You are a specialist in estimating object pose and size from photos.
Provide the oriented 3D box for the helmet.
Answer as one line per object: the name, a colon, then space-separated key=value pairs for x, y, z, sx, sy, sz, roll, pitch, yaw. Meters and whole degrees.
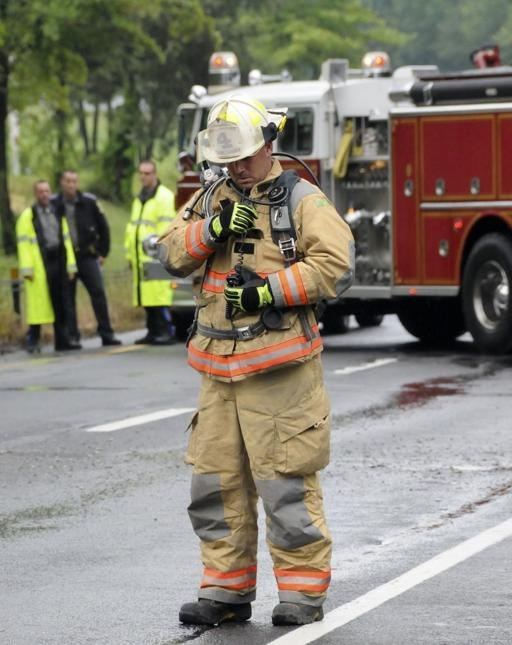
helmet: x=-0.061 y=-0.722 z=4.485 sx=0.298 sy=0.170 sz=0.419 roll=-3 pitch=28 yaw=20

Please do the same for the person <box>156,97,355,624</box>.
person: x=0.021 y=0.111 z=4.384 sx=0.666 sy=1.766 sz=0.573 roll=-5 pitch=5 yaw=4

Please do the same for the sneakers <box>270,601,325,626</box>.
sneakers: x=0.118 y=0.954 z=4.201 sx=0.068 sy=0.082 sz=0.162 roll=4 pitch=6 yaw=31

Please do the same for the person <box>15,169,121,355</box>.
person: x=-1.820 y=-0.600 z=12.583 sx=0.539 sy=1.743 sz=1.054 roll=-2 pitch=6 yaw=26

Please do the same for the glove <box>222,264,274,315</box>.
glove: x=-0.037 y=-0.098 z=4.251 sx=0.123 sy=0.083 sz=0.173 roll=-6 pitch=51 yaw=-16

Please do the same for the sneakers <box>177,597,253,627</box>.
sneakers: x=-0.134 y=0.970 z=4.306 sx=0.249 sy=0.137 sz=0.090 roll=13 pitch=-8 yaw=-34

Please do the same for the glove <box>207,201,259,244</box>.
glove: x=-0.089 y=-0.332 z=4.263 sx=0.179 sy=0.127 sz=0.140 roll=-4 pitch=6 yaw=10
